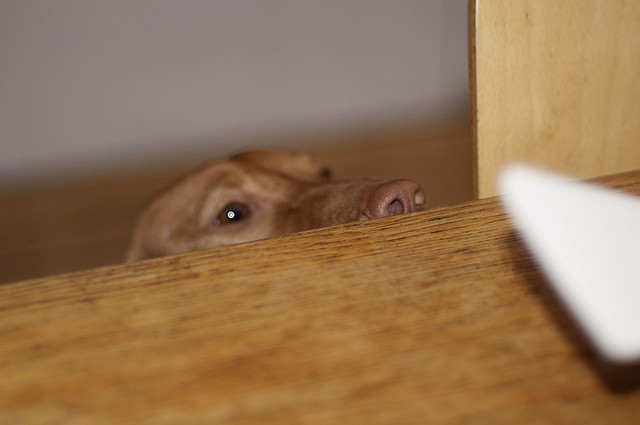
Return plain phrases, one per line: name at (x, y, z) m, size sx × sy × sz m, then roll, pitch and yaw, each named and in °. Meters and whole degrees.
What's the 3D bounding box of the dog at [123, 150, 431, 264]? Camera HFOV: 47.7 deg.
dog at (-0.044, -0.013, 0.835) m, size 0.221 × 0.081 × 0.176 m, roll -10°, pitch 4°, yaw 26°
